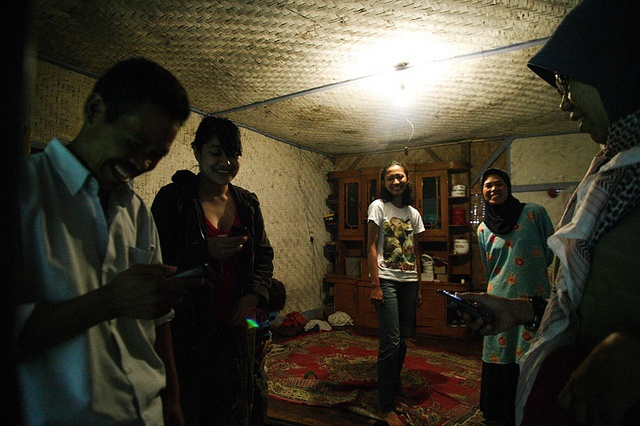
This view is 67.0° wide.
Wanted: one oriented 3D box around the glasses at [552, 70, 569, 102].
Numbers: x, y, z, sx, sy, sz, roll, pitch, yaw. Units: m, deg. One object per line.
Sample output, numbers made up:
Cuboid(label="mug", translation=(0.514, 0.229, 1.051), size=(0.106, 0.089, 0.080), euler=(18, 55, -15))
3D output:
Cuboid(label="glasses", translation=(1.017, -0.539, 2.042), size=(0.032, 0.101, 0.076), euler=(-1, 18, -5))

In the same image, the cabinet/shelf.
Cuboid(label="cabinet/shelf", translation=(1.046, 0.499, 6.428), size=(2.275, 2.142, 0.669), euler=(-2, -1, 42))

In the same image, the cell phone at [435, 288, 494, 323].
Cuboid(label="cell phone", translation=(0.676, 0.434, 2.266), size=(0.219, 0.052, 0.128), euler=(26, 10, 31))

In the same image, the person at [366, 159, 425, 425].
Cuboid(label="person", translation=(0.580, 0.546, 3.798), size=(0.435, 1.940, 0.784), euler=(1, -1, 11))

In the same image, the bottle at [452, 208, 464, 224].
Cuboid(label="bottle", translation=(1.737, 0.046, 6.066), size=(0.176, 0.176, 0.173), euler=(-1, -6, 13))

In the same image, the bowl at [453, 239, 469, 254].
Cuboid(label="bowl", translation=(1.752, 0.409, 5.981), size=(0.185, 0.172, 0.181), euler=(0, -2, 0))
